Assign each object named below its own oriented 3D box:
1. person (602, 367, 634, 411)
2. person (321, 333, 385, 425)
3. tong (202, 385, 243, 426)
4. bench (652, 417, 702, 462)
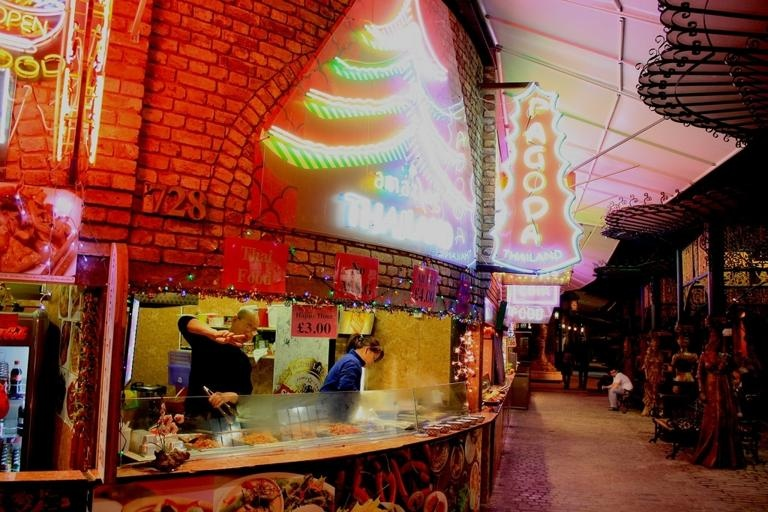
[{"bbox_3d":[8.915,5.027,21.745,0.762,1.436,3.221,-3,-11,21],"label":"person"},{"bbox_3d":[-0.466,1.555,7.466,0.687,1.087,1.193,0,-10,8],"label":"person"},{"bbox_3d":[-1.674,1.647,6.132,0.039,0.316,0.271,-9,-14,44],"label":"tong"},{"bbox_3d":[6.755,4.462,13.259,0.739,1.004,1.668,4,-12,9],"label":"bench"}]
